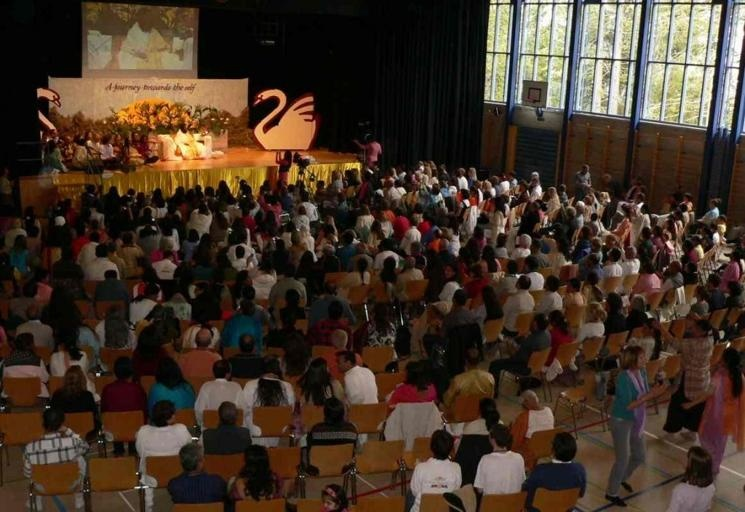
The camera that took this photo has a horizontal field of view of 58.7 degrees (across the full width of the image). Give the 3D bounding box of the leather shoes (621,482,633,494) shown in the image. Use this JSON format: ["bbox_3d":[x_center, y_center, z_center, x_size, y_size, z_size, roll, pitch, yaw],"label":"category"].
[{"bbox_3d":[3.233,2.948,8.468,0.064,0.078,0.194,-31,32,-1],"label":"leather shoes"}]
